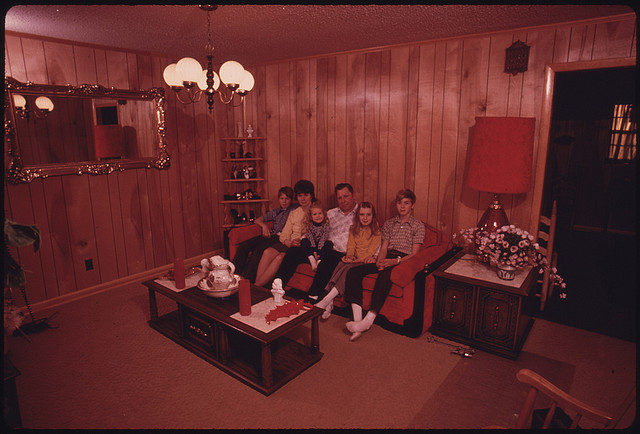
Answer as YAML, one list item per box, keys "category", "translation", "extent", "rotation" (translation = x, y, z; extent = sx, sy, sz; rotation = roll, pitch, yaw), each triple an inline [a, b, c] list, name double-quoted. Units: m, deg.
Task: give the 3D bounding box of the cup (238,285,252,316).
- category: "cup"
  translation: [-0.632, 0.689, 3.601]
  extent: [0.106, 0.246, 0.122]
  rotation: [-5, 15, -9]

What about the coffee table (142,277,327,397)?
- category: "coffee table"
  translation: [-0.865, 0.976, 4.094]
  extent: [1.722, 0.512, 0.761]
  rotation: [12, 18, 35]

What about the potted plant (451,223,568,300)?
- category: "potted plant"
  translation: [1.839, 0.328, 4.142]
  extent: [0.817, 0.610, 0.760]
  rotation: [2, 15, 17]

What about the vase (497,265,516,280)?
- category: "vase"
  translation: [1.674, 0.496, 3.916]
  extent: [0.136, 0.142, 0.133]
  rotation: [-1, 11, -16]

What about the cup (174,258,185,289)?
- category: "cup"
  translation: [-1.323, 0.531, 4.050]
  extent: [0.089, 0.271, 0.126]
  rotation: [-8, 16, -19]

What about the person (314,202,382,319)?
- category: "person"
  translation: [0.265, 0.406, 4.315]
  extent: [0.424, 0.748, 1.205]
  rotation: [11, 30, 26]
